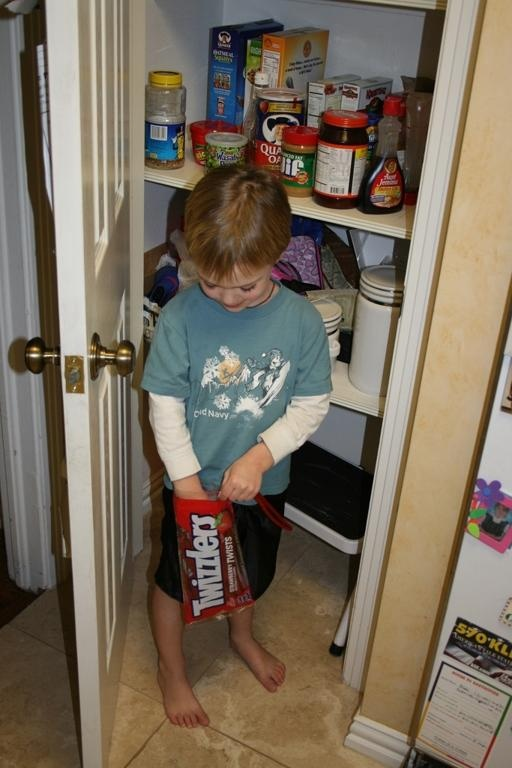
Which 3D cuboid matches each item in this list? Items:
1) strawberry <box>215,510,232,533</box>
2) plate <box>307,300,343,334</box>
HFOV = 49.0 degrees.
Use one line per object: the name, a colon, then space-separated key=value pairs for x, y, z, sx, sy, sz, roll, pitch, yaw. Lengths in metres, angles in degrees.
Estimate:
strawberry: x=-0.054 y=0.229 z=0.931 sx=0.025 sy=0.034 sz=0.019 roll=-9 pitch=-21 yaw=29
plate: x=0.144 y=-0.145 z=1.158 sx=0.061 sy=0.048 sz=0.072 roll=-4 pitch=43 yaw=-11
